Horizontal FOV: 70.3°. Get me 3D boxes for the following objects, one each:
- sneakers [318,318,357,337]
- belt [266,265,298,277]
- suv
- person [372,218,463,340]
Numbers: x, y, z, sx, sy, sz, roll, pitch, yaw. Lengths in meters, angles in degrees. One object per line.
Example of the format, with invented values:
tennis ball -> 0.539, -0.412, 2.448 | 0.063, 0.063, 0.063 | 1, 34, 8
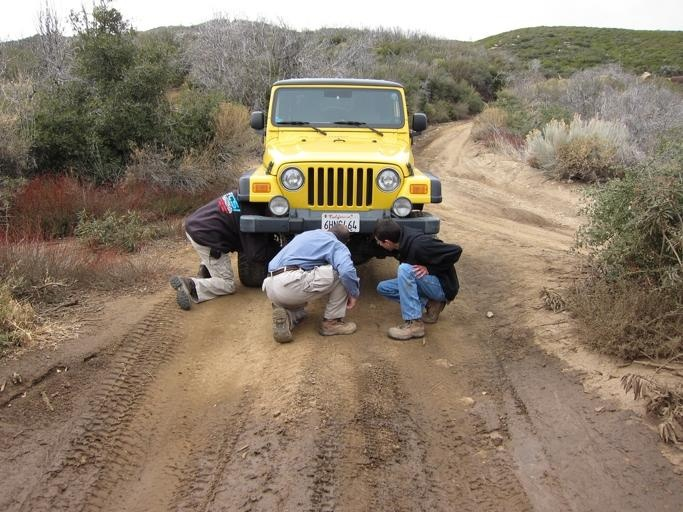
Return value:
sneakers -> -0.045, 0.803, 5.549 | 0.384, 0.172, 0.170 | -2, 5, -7
belt -> -0.640, 0.167, 5.278 | 0.357, 0.132, 0.063 | 3, 13, 12
suv -> -0.045, -1.471, 7.911 | 2.748, 2.654, 4.931 | 1, 16, 0
person -> 0.833, 0.230, 5.559 | 0.932, 1.313, 0.568 | -1, 13, -5
